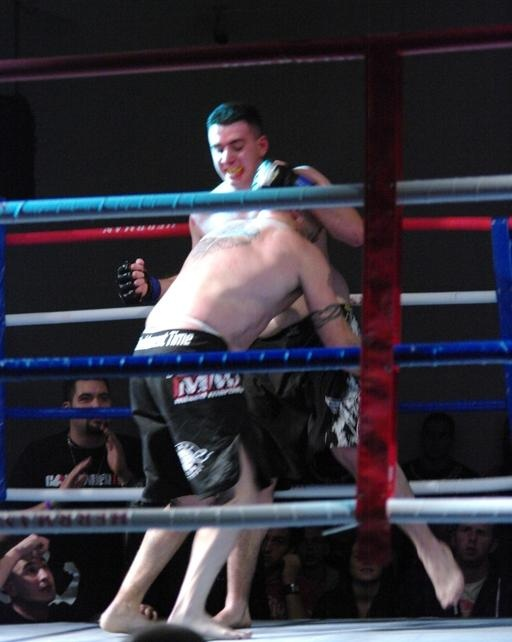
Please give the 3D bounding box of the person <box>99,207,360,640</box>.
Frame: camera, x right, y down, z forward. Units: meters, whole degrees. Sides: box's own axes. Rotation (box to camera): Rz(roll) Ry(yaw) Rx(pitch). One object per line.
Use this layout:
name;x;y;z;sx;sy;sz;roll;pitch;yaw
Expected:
person;-0.054;0.198;1.760;0.552;0.849;0.500;-7;6;-24
